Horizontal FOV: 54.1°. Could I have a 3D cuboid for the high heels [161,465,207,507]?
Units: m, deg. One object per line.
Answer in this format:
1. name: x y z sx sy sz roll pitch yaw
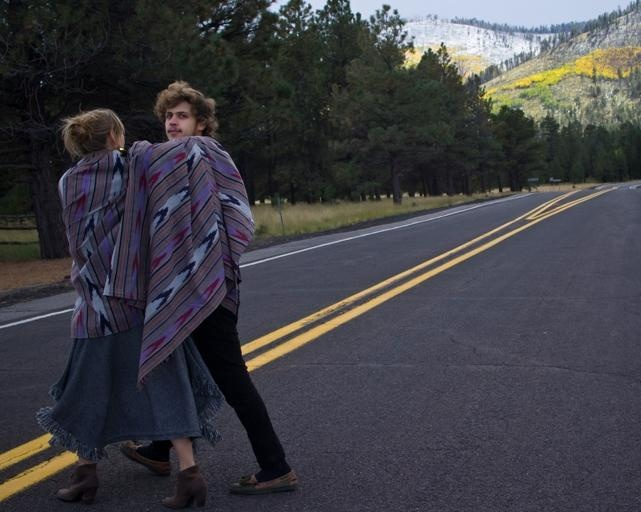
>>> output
1. high heels: -0.765 1.279 3.530 0.252 0.215 0.148 0 6 16
